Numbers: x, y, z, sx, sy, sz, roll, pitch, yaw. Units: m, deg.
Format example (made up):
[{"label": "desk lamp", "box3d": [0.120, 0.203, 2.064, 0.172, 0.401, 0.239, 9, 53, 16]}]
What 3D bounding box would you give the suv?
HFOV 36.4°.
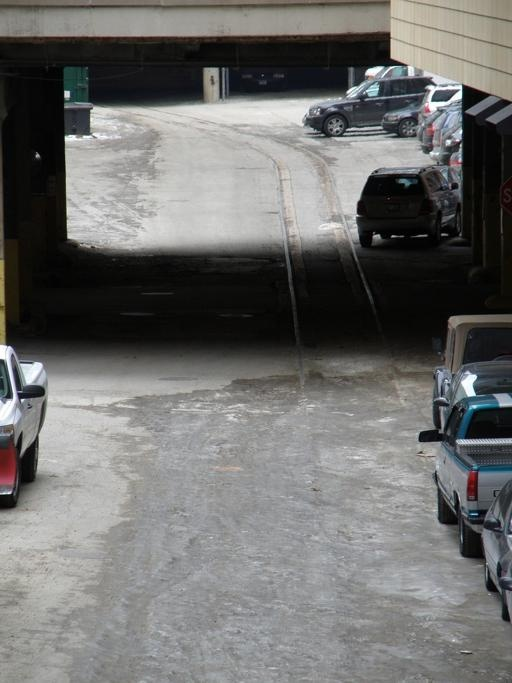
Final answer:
[{"label": "suv", "box3d": [5.541, -4.902, 27.626, 2.406, 2.790, 4.339, 1, 3, 37]}]
